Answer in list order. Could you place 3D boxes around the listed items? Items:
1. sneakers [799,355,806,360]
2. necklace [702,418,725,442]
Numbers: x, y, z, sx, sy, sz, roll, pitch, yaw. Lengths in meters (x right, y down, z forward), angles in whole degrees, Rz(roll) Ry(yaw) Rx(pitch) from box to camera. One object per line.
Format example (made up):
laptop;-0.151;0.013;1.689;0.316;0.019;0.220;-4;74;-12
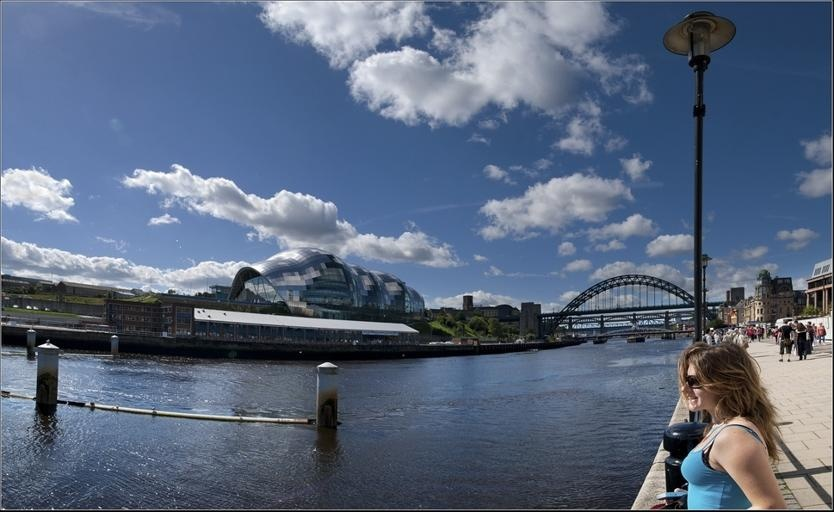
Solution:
sneakers;19.747;5.164;29.849;0.173;0.229;0.574;-9;-17;40
necklace;5.129;2.995;10.047;0.142;0.368;0.286;23;4;21
